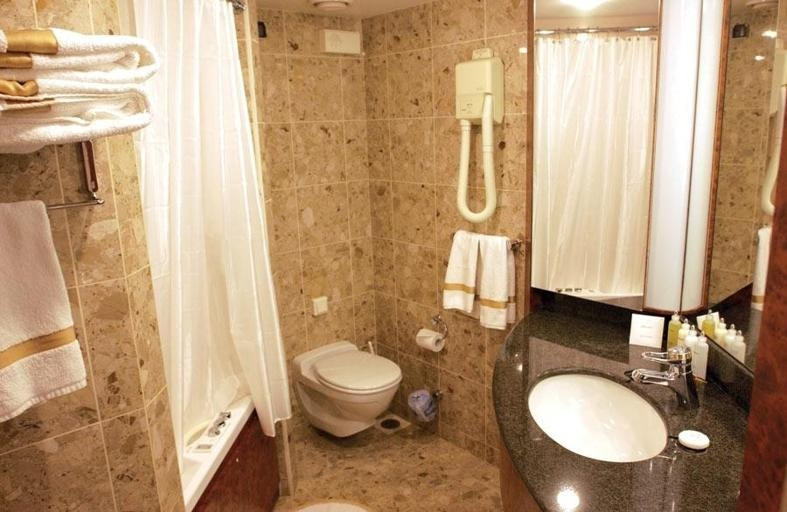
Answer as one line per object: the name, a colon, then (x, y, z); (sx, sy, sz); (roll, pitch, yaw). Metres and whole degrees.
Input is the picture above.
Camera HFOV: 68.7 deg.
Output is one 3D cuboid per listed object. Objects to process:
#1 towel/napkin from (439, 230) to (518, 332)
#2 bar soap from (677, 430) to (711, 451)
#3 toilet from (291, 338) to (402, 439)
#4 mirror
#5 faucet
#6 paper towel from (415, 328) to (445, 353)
towel/napkin: (0.489, 0.129, 3.225); (0.167, 0.487, 0.456); (-18, 29, -38)
bar soap: (1.025, 0.628, 1.967); (0.104, 0.032, 0.084); (9, 23, 28)
toilet: (-0.266, 0.872, 3.682); (0.668, 0.419, 0.505); (13, 19, 40)
mirror: (1.100, -0.300, 2.394); (0.044, 1.542, 1.432); (-15, 24, -28)
faucet: (1.024, 0.459, 2.188); (0.268, 0.213, 0.117); (4, 12, 16)
paper towel: (0.203, 0.517, 3.563); (0.131, 0.131, 0.190); (-1, 16, -40)
